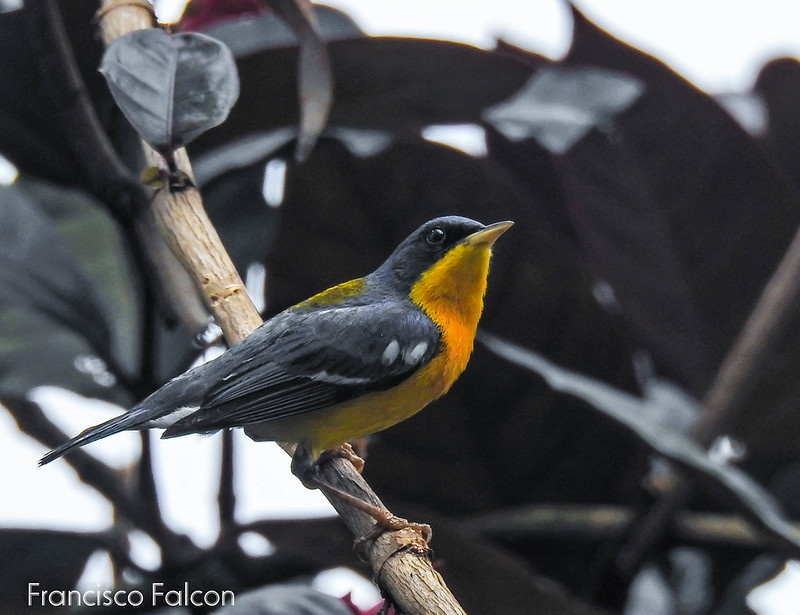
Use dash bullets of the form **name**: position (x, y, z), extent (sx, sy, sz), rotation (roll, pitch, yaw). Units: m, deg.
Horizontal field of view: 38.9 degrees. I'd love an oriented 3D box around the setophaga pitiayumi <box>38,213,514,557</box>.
- **setophaga pitiayumi**: position (-0.381, 0.192, 3.430), extent (1.410, 0.781, 0.469), rotation (-5, 6, 11)
